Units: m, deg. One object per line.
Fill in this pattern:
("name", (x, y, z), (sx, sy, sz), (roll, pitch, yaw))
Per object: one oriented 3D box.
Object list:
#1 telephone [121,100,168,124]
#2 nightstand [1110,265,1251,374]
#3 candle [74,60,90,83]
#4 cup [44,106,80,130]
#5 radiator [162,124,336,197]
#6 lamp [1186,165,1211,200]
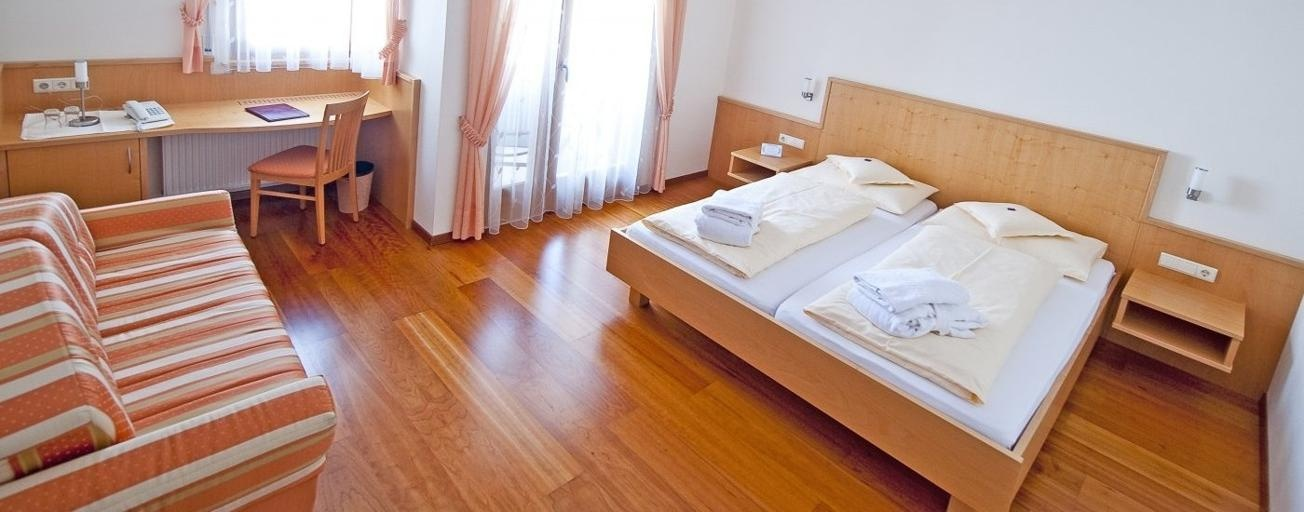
("telephone", (-5.354, -1.508, 6.638), (0.409, 0.124, 0.302), (30, 28, 16))
("nightstand", (5.546, 0.669, 6.658), (1.118, 0.630, 0.709), (16, 29, 24))
("candle", (-5.835, -1.844, 6.419), (0.122, 0.209, 0.194), (-20, 36, -36))
("cup", (-6.072, -1.386, 6.457), (0.312, 0.151, 0.369), (-15, 30, -33))
("radiator", (-4.605, -1.055, 7.083), (1.106, 0.424, 0.456), (-9, 30, -32))
("lamp", (5.809, -0.740, 6.697), (0.154, 0.337, 0.145), (7, 30, 4))
